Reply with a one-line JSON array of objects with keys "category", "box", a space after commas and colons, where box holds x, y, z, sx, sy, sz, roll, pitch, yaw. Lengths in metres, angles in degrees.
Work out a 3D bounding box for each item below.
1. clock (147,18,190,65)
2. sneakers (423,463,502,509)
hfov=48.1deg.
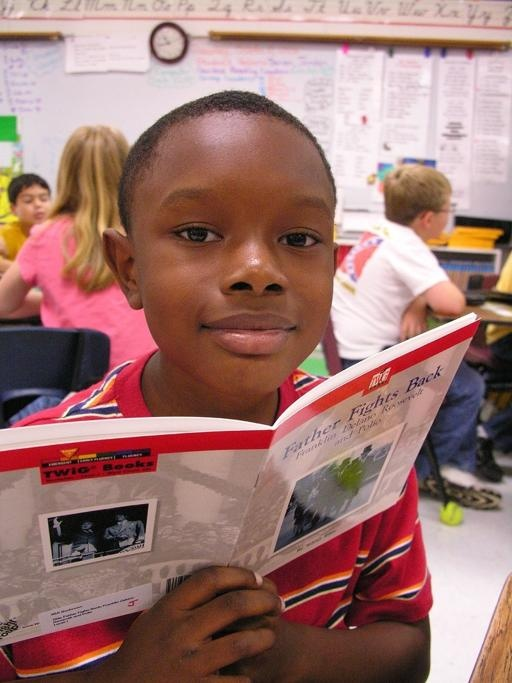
[{"category": "clock", "box": [-0.206, -0.699, 1.343, 0.087, 0.081, 0.021, -23, 27, -26]}, {"category": "sneakers", "box": [0.759, 0.558, 2.266, 0.371, 0.145, 0.120, 1, 9, 17]}]
